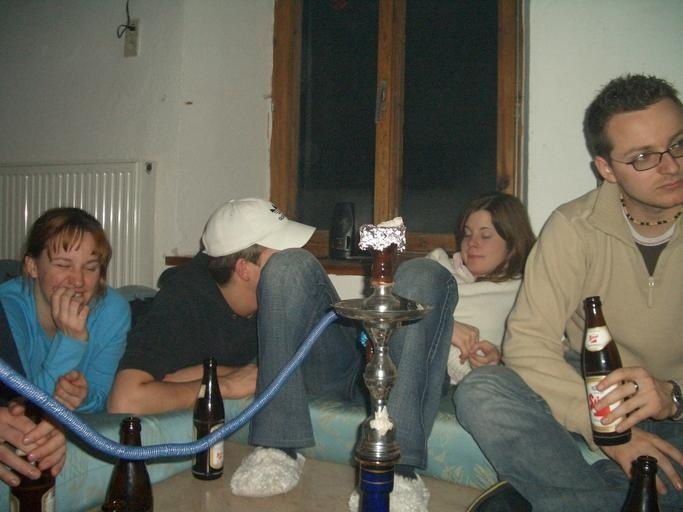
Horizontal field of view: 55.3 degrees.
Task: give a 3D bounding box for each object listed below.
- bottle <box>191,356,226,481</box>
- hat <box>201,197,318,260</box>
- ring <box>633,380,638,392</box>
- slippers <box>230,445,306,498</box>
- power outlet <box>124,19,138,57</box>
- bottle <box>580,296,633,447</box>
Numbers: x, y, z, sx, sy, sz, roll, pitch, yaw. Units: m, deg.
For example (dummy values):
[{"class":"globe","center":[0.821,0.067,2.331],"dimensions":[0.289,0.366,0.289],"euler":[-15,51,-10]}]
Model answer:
[{"class":"bottle","center":[-0.444,0.526,2.152],"dimensions":[0.115,0.380,0.183],"euler":[-4,6,-13]},{"class":"hat","center":[-0.343,-0.144,2.612],"dimensions":[0.478,0.178,0.331],"euler":[-7,18,7]},{"class":"ring","center":[0.910,0.403,2.016],"dimensions":[0.028,0.028,0.012],"euler":[-7,7,-37]},{"class":"slippers","center":[-0.217,0.679,2.078],"dimensions":[0.264,0.131,0.118],"euler":[-5,7,-30]},{"class":"power outlet","center":[-1.215,-1.260,3.785],"dimensions":[0.113,0.208,0.015],"euler":[-1,6,16]},{"class":"bottle","center":[0.852,0.364,2.099],"dimensions":[0.146,0.479,0.255],"euler":[0,6,20]}]
